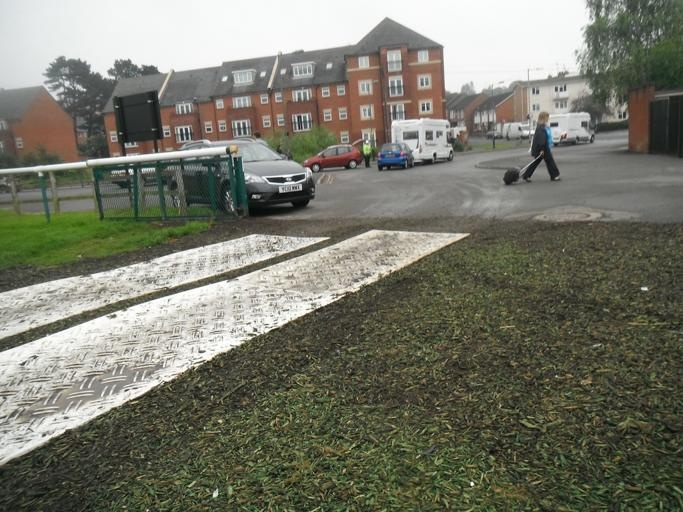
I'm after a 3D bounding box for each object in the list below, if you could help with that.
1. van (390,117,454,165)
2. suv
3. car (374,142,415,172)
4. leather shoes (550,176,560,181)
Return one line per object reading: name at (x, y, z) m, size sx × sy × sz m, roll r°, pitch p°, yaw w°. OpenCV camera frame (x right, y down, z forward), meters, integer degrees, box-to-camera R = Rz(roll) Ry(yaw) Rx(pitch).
van at (5.633, -7.897, 36.096) m, size 2.393 × 2.505 × 4.218 m, roll 7°, pitch 18°, yaw 36°
suv at (-2.726, -2.121, 14.226) m, size 1.783 × 1.615 × 3.669 m, roll -15°, pitch 18°, yaw -42°
car at (3.290, -6.039, 32.012) m, size 1.811 × 1.602 × 1.931 m, roll 3°, pitch 17°, yaw 23°
leather shoes at (6.424, -2.292, 15.772) m, size 0.096 × 0.141 × 0.291 m, roll -1°, pitch 7°, yaw 37°
